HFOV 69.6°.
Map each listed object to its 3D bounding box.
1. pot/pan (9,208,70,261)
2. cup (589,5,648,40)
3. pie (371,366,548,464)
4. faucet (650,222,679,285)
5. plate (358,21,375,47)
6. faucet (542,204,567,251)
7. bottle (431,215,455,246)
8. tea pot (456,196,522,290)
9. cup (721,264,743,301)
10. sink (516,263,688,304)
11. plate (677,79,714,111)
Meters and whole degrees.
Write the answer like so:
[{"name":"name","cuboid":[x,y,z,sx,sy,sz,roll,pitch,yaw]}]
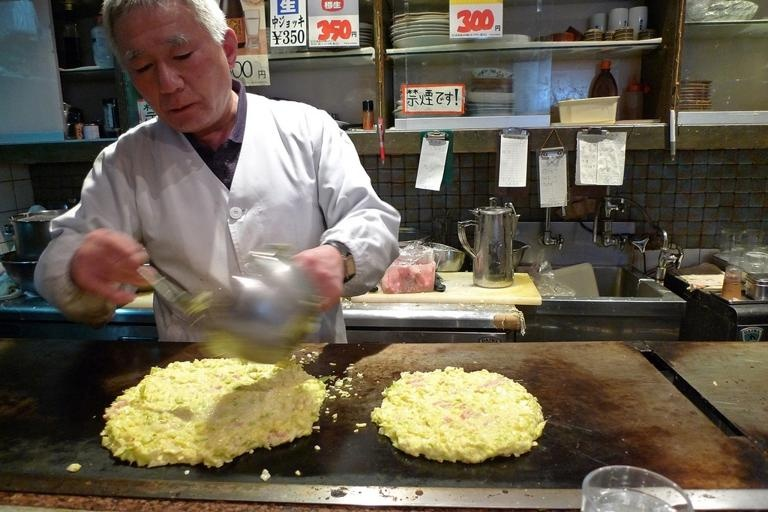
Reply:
[{"name":"pot/pan","cuboid":[-2.079,-0.115,3.419,0.416,0.280,0.413,-2,4,-17]},{"name":"cup","cuboid":[1.428,-1.414,3.432,0.357,0.200,0.222,2,9,16]},{"name":"pie","cuboid":[0.256,0.497,2.015,0.593,0.218,0.564,-3,7,-18]},{"name":"faucet","cuboid":[1.827,-0.009,3.555,0.163,0.352,0.521,4,12,27]},{"name":"plate","cuboid":[-0.112,-1.385,3.457,0.159,0.129,0.145,-3,17,-11]},{"name":"faucet","cuboid":[1.141,-0.178,3.741,0.145,0.303,0.203,4,12,25]},{"name":"bottle","cuboid":[0.420,-0.186,3.895,0.163,0.234,0.058,0,12,7]},{"name":"tea pot","cuboid":[0.613,-0.070,3.340,0.376,0.531,0.351,-2,-1,0]},{"name":"cup","cuboid":[1.942,0.148,3.077,0.089,0.190,0.089,-2,11,0]},{"name":"sink","cuboid":[1.323,0.199,3.450,0.806,0.220,0.817,0,12,3]},{"name":"plate","cuboid":[1.824,-0.940,3.247,0.185,0.178,0.069,4,11,11]}]
